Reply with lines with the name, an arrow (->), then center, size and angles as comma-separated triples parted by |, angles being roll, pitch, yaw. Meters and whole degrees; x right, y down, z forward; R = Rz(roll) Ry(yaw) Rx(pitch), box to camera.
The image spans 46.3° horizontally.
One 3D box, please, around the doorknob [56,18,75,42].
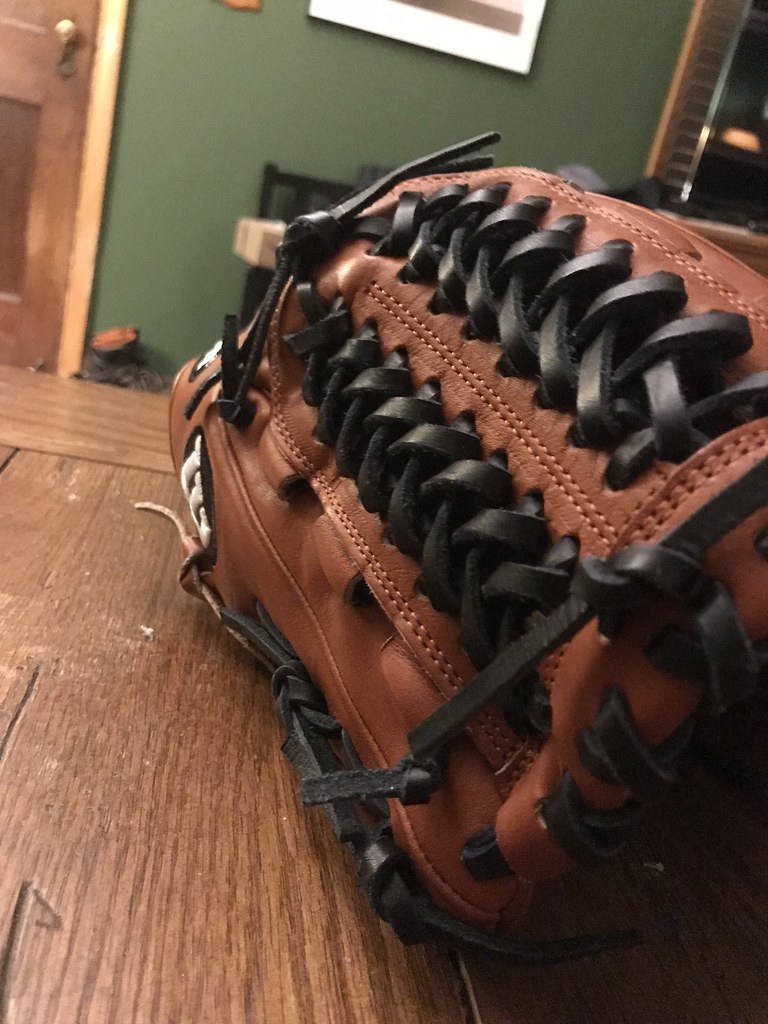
doorknob -> -0.495, -0.753, 1.406 | 0.034, 0.023, 0.031 | 0, 64, -4
